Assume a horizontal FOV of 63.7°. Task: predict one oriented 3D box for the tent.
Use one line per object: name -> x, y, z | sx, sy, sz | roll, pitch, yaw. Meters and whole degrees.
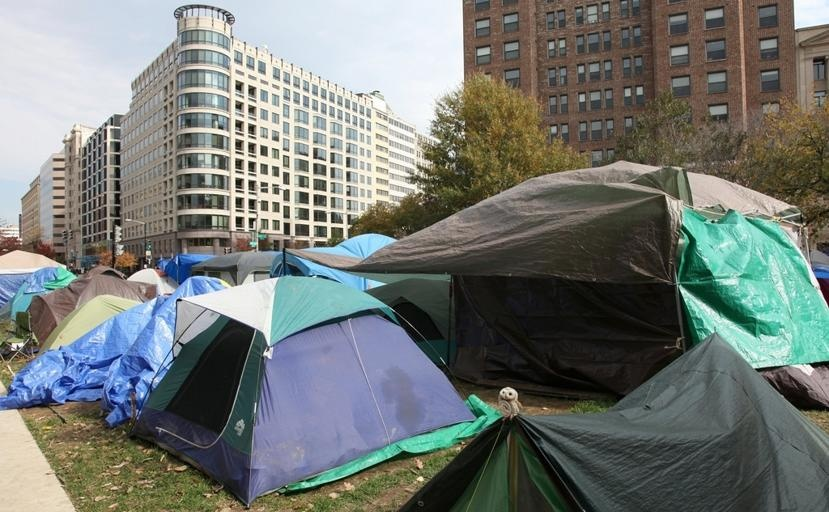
tent -> -2.756, 2.653, 14.646 | 8.035, 4.408, 3.444 | -3, -2, 19
